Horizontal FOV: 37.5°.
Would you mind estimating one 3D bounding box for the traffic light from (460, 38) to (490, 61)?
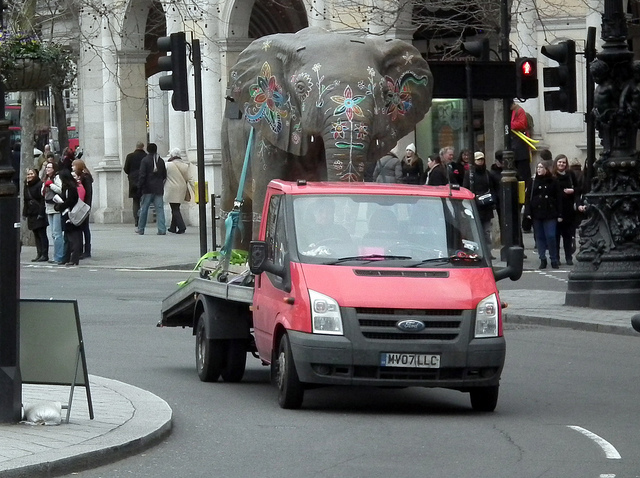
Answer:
[{"bbox_3d":[2.987,-3.605,17.977,0.462,0.551,1.349,1,6,9],"label":"traffic light"}]

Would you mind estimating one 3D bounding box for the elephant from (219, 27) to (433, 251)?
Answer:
[{"bbox_3d":[-0.124,-1.248,11.832,2.536,2.841,1.465,2,6,28],"label":"elephant"}]

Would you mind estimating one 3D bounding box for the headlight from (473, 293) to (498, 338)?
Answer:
[{"bbox_3d":[1.425,0.656,8.041,0.218,0.430,0.055,-2,17,2],"label":"headlight"}]

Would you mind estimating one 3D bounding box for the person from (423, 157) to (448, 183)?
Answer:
[{"bbox_3d":[2.618,-1.527,21.515,0.736,0.713,0.437,1,-6,4],"label":"person"}]

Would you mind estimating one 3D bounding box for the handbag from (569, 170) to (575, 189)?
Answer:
[{"bbox_3d":[5.750,-1.331,21.539,0.092,0.285,0.226,-11,-4,20],"label":"handbag"}]

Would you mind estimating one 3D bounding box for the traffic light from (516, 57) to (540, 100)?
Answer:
[{"bbox_3d":[4.029,-3.137,18.328,0.415,0.806,1.208,1,6,11],"label":"traffic light"}]

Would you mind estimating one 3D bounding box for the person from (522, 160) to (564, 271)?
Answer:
[{"bbox_3d":[4.948,-0.499,20.835,0.786,2.322,0.693,1,5,15],"label":"person"}]

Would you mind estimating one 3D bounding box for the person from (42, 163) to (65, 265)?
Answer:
[{"bbox_3d":[-6.417,-0.574,22.871,0.468,2.466,1.294,-2,5,-16],"label":"person"}]

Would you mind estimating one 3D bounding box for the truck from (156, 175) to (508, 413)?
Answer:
[{"bbox_3d":[0.131,0.541,10.533,2.600,2.107,5.587,3,-4,-16],"label":"truck"}]

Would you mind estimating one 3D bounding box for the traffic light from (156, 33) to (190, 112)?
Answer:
[{"bbox_3d":[-2.767,-3.038,17.992,0.499,1.473,0.500,-2,-17,-14],"label":"traffic light"}]

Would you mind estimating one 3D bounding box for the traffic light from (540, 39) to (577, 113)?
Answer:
[{"bbox_3d":[4.053,-2.730,15.972,0.482,1.426,0.463,7,16,42],"label":"traffic light"}]

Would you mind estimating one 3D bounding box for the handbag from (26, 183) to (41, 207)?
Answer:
[{"bbox_3d":[-7.160,-1.072,23.711,0.144,0.589,0.383,-15,-4,28],"label":"handbag"}]

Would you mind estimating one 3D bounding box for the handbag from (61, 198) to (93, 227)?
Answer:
[{"bbox_3d":[-5.673,-0.697,22.317,0.242,0.401,0.387,-30,-7,29],"label":"handbag"}]
